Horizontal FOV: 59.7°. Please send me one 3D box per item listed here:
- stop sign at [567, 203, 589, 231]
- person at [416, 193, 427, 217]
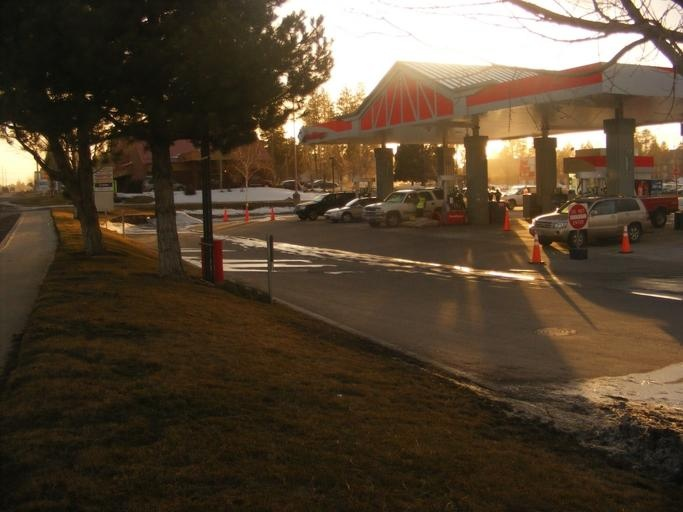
[{"bbox_3d":[8.206,-1.305,20.518,0.845,0.978,0.118,-4,-13,-34],"label":"stop sign"},{"bbox_3d":[4.704,-2.947,34.686,0.527,1.320,0.808,6,7,13],"label":"person"}]
